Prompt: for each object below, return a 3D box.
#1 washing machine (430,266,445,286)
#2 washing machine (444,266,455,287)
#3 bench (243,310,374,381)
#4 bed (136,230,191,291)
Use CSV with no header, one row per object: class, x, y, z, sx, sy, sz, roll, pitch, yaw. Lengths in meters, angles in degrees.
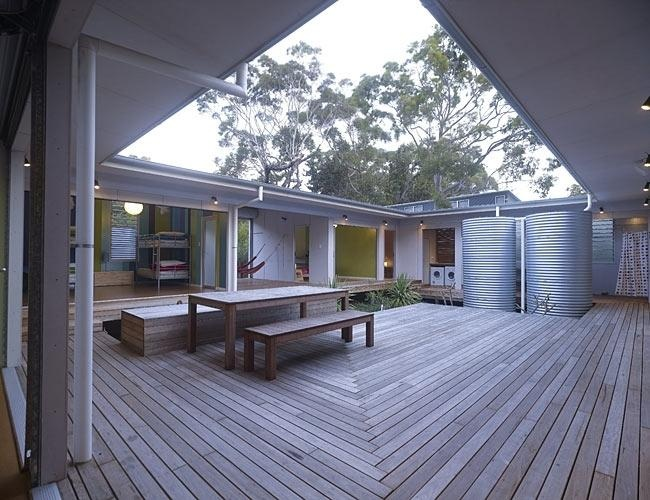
washing machine,3.576,0.771,12.871,0.462,0.724,0.500,-2,-4,34
washing machine,3.790,0.760,12.623,0.285,0.585,0.350,0,8,1
bench,-0.185,1.073,5.117,1.663,0.514,0.507,-6,9,-40
bed,-3.979,0.237,10.838,0.716,1.343,1.792,0,-1,-21
